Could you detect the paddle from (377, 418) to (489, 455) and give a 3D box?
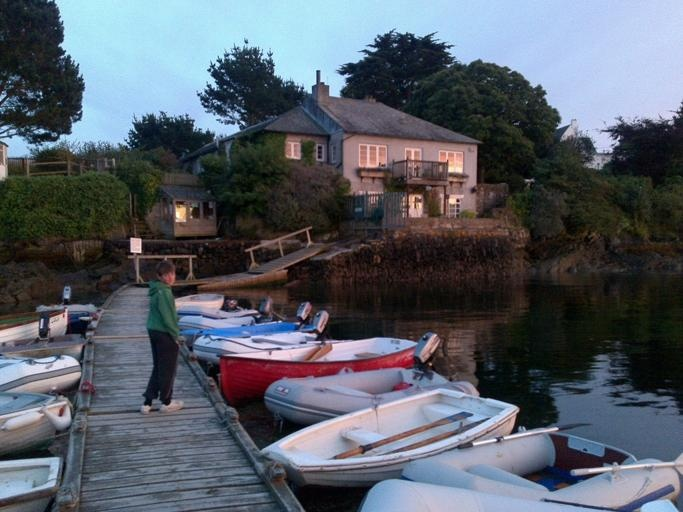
[{"bbox_3d":[1.605,3.093,11.916,1.561,0.079,0.201,-8,28,-10],"label":"paddle"}]

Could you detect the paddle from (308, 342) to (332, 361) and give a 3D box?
[{"bbox_3d":[-0.475,2.132,15.531,0.210,0.130,0.739,-48,-12,20],"label":"paddle"}]

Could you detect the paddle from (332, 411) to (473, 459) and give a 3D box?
[{"bbox_3d":[1.020,3.076,11.911,2.128,0.110,0.233,-12,14,-22],"label":"paddle"}]

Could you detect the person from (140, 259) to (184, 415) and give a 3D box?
[{"bbox_3d":[-3.250,1.444,12.436,0.739,2.709,0.982,-1,2,-16],"label":"person"}]

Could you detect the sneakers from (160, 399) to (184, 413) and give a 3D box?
[{"bbox_3d":[-3.050,2.710,12.569,0.444,0.191,0.170,-8,19,-33],"label":"sneakers"}]

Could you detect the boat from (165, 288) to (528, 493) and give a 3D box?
[{"bbox_3d":[0.082,2.725,14.284,4.770,1.890,2.758,-8,11,-42],"label":"boat"}]
